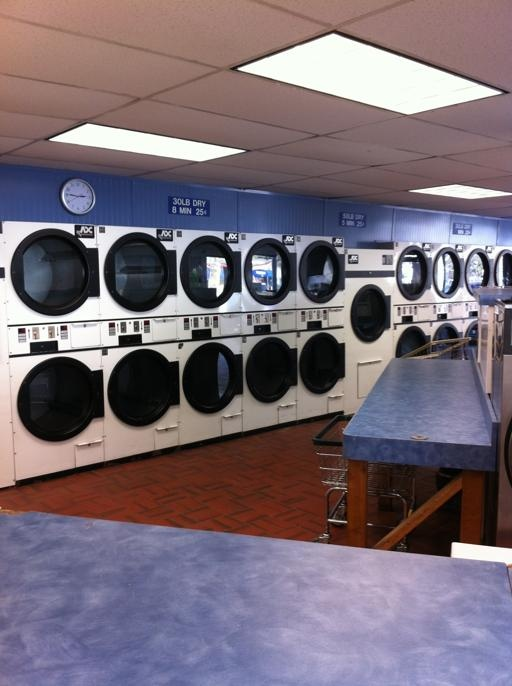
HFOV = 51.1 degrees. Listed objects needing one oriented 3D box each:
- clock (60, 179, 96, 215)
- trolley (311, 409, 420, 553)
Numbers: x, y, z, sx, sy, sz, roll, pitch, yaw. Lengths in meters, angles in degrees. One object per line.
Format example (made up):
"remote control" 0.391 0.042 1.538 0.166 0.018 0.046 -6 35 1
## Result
"clock" -1.631 -1.321 4.845 0.363 0.425 0.046 -1 -4 -44
"trolley" 0.646 1.001 3.550 0.937 0.725 0.553 9 -31 -10
